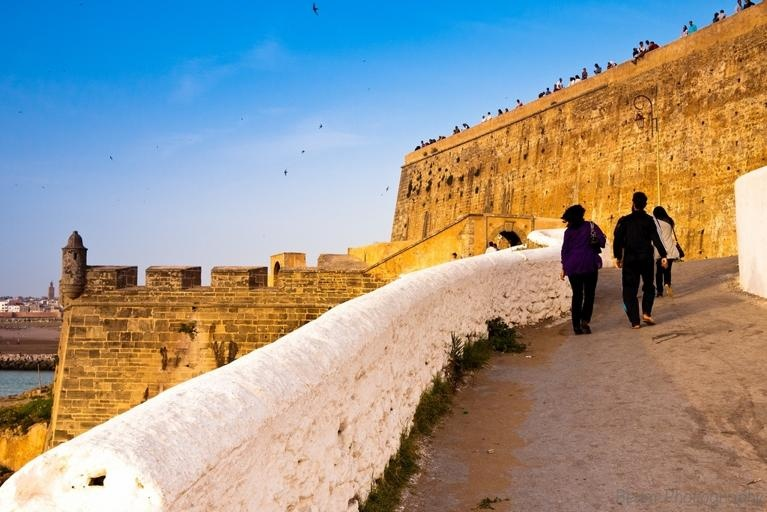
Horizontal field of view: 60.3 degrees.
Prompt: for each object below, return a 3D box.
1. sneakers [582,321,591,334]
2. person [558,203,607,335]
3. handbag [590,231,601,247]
[{"bbox_3d":[2.812,0.958,9.115,0.110,0.161,0.279,-6,8,25],"label":"sneakers"},{"bbox_3d":[2.826,0.142,9.307,0.642,1.783,0.956,-8,8,15],"label":"person"},{"bbox_3d":[2.892,-0.265,9.062,0.111,0.205,0.074,-13,8,-26],"label":"handbag"}]
